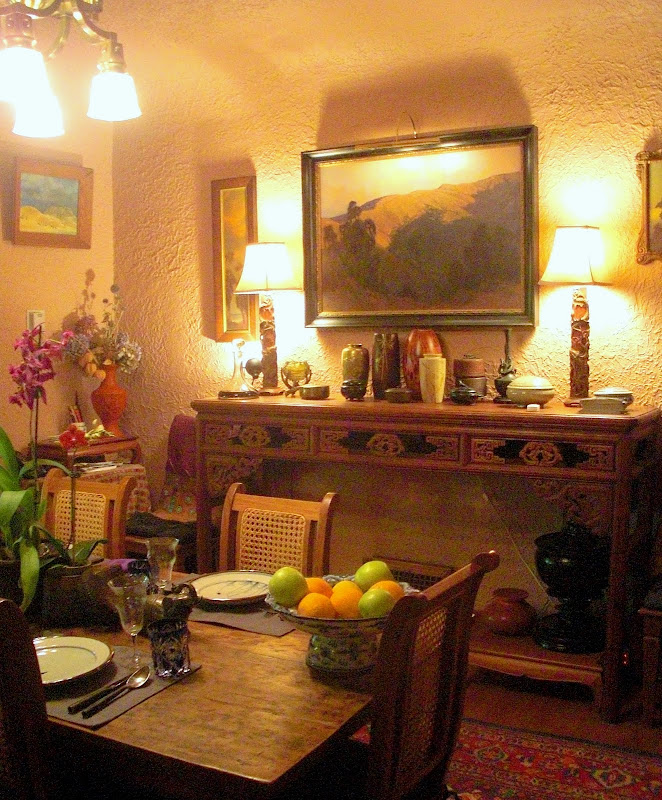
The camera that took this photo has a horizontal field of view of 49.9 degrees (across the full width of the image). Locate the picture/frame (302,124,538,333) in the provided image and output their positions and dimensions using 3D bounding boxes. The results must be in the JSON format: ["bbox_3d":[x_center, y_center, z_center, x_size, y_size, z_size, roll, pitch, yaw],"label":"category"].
[{"bbox_3d":[0.421,-0.758,3.093,1.154,0.738,0.049,2,6,29],"label":"picture/frame"}]

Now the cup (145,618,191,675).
[{"bbox_3d":[-0.283,0.430,1.258,0.093,0.085,0.080,0,-2,-19],"label":"cup"}]

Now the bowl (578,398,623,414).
[{"bbox_3d":[0.925,0.024,2.418,0.151,0.059,0.149,4,1,0],"label":"bowl"}]

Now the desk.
[{"bbox_3d":[0.374,0.460,2.194,1.255,0.674,0.322,1,2,27],"label":"desk"}]

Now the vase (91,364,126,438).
[{"bbox_3d":[-1.150,0.004,3.749,0.156,0.310,0.240,4,1,-39],"label":"vase"}]

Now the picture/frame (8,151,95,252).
[{"bbox_3d":[-1.453,-1.023,3.653,0.073,0.529,0.647,7,8,31],"label":"picture/frame"}]

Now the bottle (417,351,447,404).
[{"bbox_3d":[0.404,-0.086,2.914,0.111,0.196,0.134,5,1,5],"label":"bottle"}]

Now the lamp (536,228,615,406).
[{"bbox_3d":[0.923,-0.332,2.751,0.241,0.699,0.275,5,1,19],"label":"lamp"}]

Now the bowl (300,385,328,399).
[{"bbox_3d":[-0.070,-0.031,3.117,0.133,0.061,0.134,4,1,0],"label":"bowl"}]

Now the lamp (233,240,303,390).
[{"bbox_3d":[-0.297,-0.397,3.410,0.374,0.664,0.346,-3,4,-25],"label":"lamp"}]
